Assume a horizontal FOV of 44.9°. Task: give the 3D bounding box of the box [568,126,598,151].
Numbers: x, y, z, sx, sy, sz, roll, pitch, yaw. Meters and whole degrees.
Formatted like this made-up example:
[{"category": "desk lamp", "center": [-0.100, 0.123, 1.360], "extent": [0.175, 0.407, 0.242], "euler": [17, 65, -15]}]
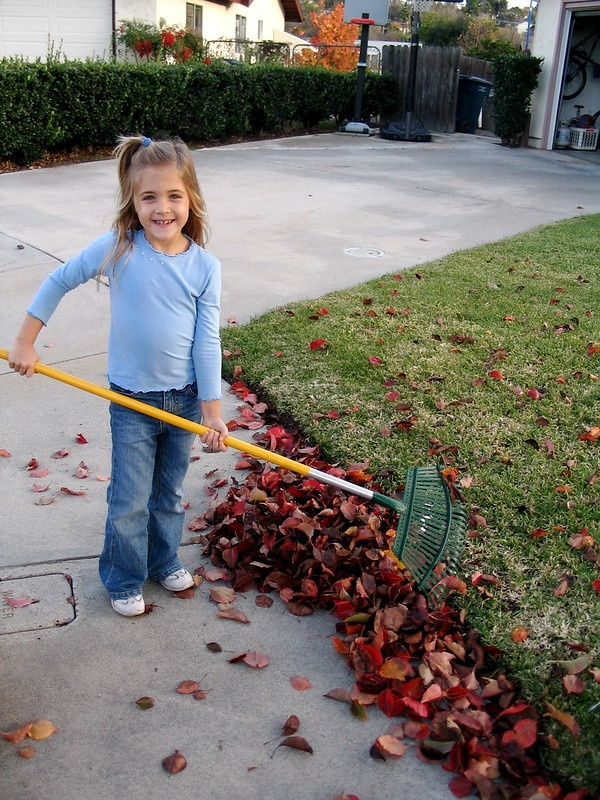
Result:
[{"category": "box", "center": [6.737, -6.213, 17.202], "extent": [0.667, 0.451, 0.771], "euler": [-2, 16, -7]}]
